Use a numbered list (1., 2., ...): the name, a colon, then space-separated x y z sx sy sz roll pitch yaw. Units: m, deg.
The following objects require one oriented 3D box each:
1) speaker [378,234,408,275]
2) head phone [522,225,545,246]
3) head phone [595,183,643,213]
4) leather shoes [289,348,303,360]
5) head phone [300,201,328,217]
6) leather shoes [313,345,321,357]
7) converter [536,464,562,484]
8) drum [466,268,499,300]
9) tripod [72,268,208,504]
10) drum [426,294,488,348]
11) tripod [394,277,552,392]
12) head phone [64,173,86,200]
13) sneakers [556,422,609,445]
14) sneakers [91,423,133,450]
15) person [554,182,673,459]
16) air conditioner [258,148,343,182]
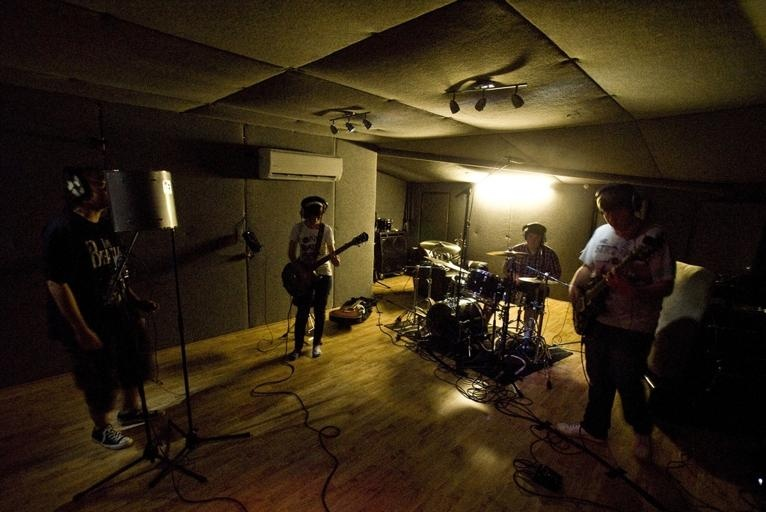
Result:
1. speaker: 0.197 -0.035 11.288 0.531 0.816 0.895 -1 2 22
2. head phone: 2.113 -0.309 7.511 0.306 0.283 0.310 9 -11 27
3. head phone: 2.452 -0.587 5.496 0.390 0.287 0.295 -4 7 -37
4. leather shoes: -1.144 1.302 7.107 0.084 0.176 0.201 20 10 40
5. head phone: -0.895 -0.605 6.982 0.319 0.206 0.216 0 10 -13
6. leather shoes: -0.880 1.278 7.162 0.091 0.141 0.154 6 -21 -16
7. converter: 1.685 2.193 5.388 0.251 0.134 0.206 7 11 26
8. drum: 1.325 0.399 7.007 0.153 0.379 0.557 -3 12 -30
9. tripod: -1.998 1.646 5.451 1.288 1.366 1.099 5 31 -2
10. drum: 1.112 0.839 7.512 0.696 0.834 0.903 -5 7 -44
11. tripod: 1.388 1.025 7.562 0.648 1.191 1.705 3 4 -19
12. head phone: -2.994 -0.672 5.233 0.232 0.201 0.048 -27 12 -2
13. sneakers: 2.181 1.911 5.927 0.556 0.204 0.185 17 -5 19
14. sneakers: -2.822 1.904 5.675 0.510 0.198 0.189 14 0 3
15. person: 2.490 0.673 5.644 1.003 2.814 0.481 7 12 21
16. air conditioner: -1.253 -1.347 8.133 0.363 0.426 1.385 15 13 40
